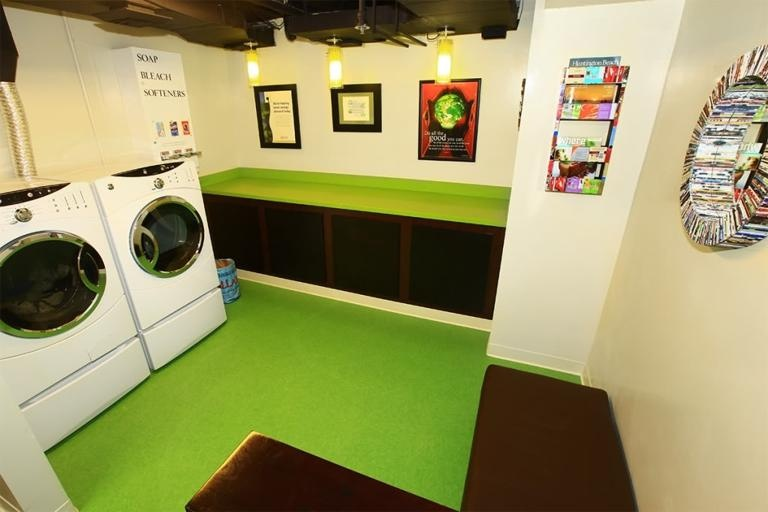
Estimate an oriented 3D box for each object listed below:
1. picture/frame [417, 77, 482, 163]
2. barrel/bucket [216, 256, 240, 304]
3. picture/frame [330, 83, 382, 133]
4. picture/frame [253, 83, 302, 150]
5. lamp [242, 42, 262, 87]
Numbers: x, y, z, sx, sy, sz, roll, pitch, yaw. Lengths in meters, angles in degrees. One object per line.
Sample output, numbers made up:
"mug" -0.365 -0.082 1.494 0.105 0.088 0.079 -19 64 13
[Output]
"picture/frame" 0.596 -1.227 4.251 0.670 0.798 0.053 9 27 20
"barrel/bucket" -1.460 0.276 4.637 0.225 0.357 0.230 -7 -4 -1
"picture/frame" -0.253 -1.404 4.524 0.451 0.381 0.019 5 22 19
"picture/frame" -1.080 -1.437 4.874 0.610 0.663 0.029 8 28 20
"lamp" -1.192 -1.717 4.321 0.094 0.360 0.326 -5 24 -14
